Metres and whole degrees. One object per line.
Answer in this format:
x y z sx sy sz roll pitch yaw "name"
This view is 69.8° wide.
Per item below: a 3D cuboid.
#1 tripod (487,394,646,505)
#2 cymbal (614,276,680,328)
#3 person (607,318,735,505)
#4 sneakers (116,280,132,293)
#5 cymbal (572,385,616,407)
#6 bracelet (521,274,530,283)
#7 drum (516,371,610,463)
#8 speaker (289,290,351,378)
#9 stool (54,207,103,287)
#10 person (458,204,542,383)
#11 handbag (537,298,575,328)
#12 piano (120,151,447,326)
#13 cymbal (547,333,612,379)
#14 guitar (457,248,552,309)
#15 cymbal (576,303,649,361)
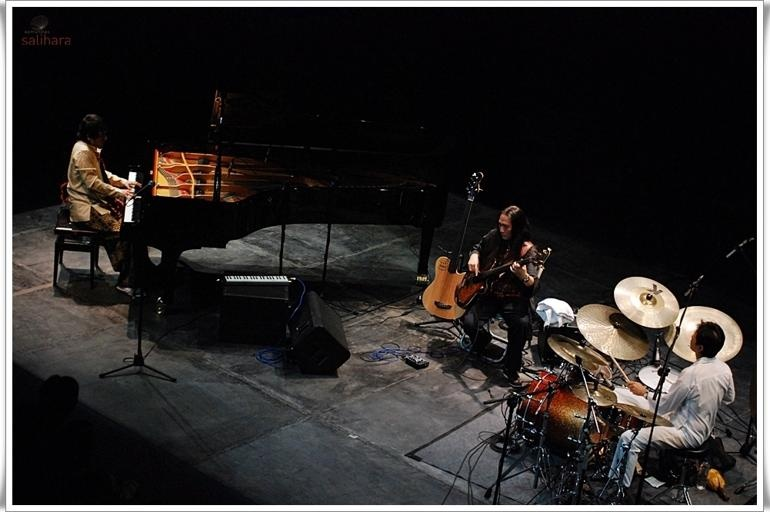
1.764 1.923 5.697 1.318 1.040 1.246 1 19 3 "tripod"
2.993 0.605 6.481 0.644 0.167 0.619 -30 65 -16 "cymbal"
2.909 1.522 5.622 1.230 1.760 0.645 2 10 -17 "person"
-3.841 0.477 8.189 0.269 0.093 0.178 33 17 38 "sneakers"
2.025 1.338 5.284 0.403 0.162 0.231 3 9 -10 "cymbal"
1.772 0.276 6.964 0.106 0.096 0.054 -3 12 -42 "bracelet"
2.034 1.644 6.084 0.765 0.907 0.956 13 -33 25 "drum"
-0.840 1.001 7.139 0.736 0.932 0.658 4 9 -9 "speaker"
-4.519 -0.127 8.177 0.628 0.683 1.090 -1 33 -24 "stool"
1.516 0.454 7.275 0.938 2.220 0.604 9 10 23 "person"
2.207 0.748 7.089 0.399 0.162 0.393 -2 18 -22 "handbag"
-1.610 -0.018 8.584 3.569 1.375 2.981 5 13 -11 "piano"
1.954 1.007 5.525 0.523 0.113 0.511 29 22 6 "cymbal"
1.442 0.230 7.149 1.328 0.594 0.205 -30 -28 26 "guitar"
2.536 0.790 6.086 0.854 0.163 0.814 12 40 -8 "cymbal"
